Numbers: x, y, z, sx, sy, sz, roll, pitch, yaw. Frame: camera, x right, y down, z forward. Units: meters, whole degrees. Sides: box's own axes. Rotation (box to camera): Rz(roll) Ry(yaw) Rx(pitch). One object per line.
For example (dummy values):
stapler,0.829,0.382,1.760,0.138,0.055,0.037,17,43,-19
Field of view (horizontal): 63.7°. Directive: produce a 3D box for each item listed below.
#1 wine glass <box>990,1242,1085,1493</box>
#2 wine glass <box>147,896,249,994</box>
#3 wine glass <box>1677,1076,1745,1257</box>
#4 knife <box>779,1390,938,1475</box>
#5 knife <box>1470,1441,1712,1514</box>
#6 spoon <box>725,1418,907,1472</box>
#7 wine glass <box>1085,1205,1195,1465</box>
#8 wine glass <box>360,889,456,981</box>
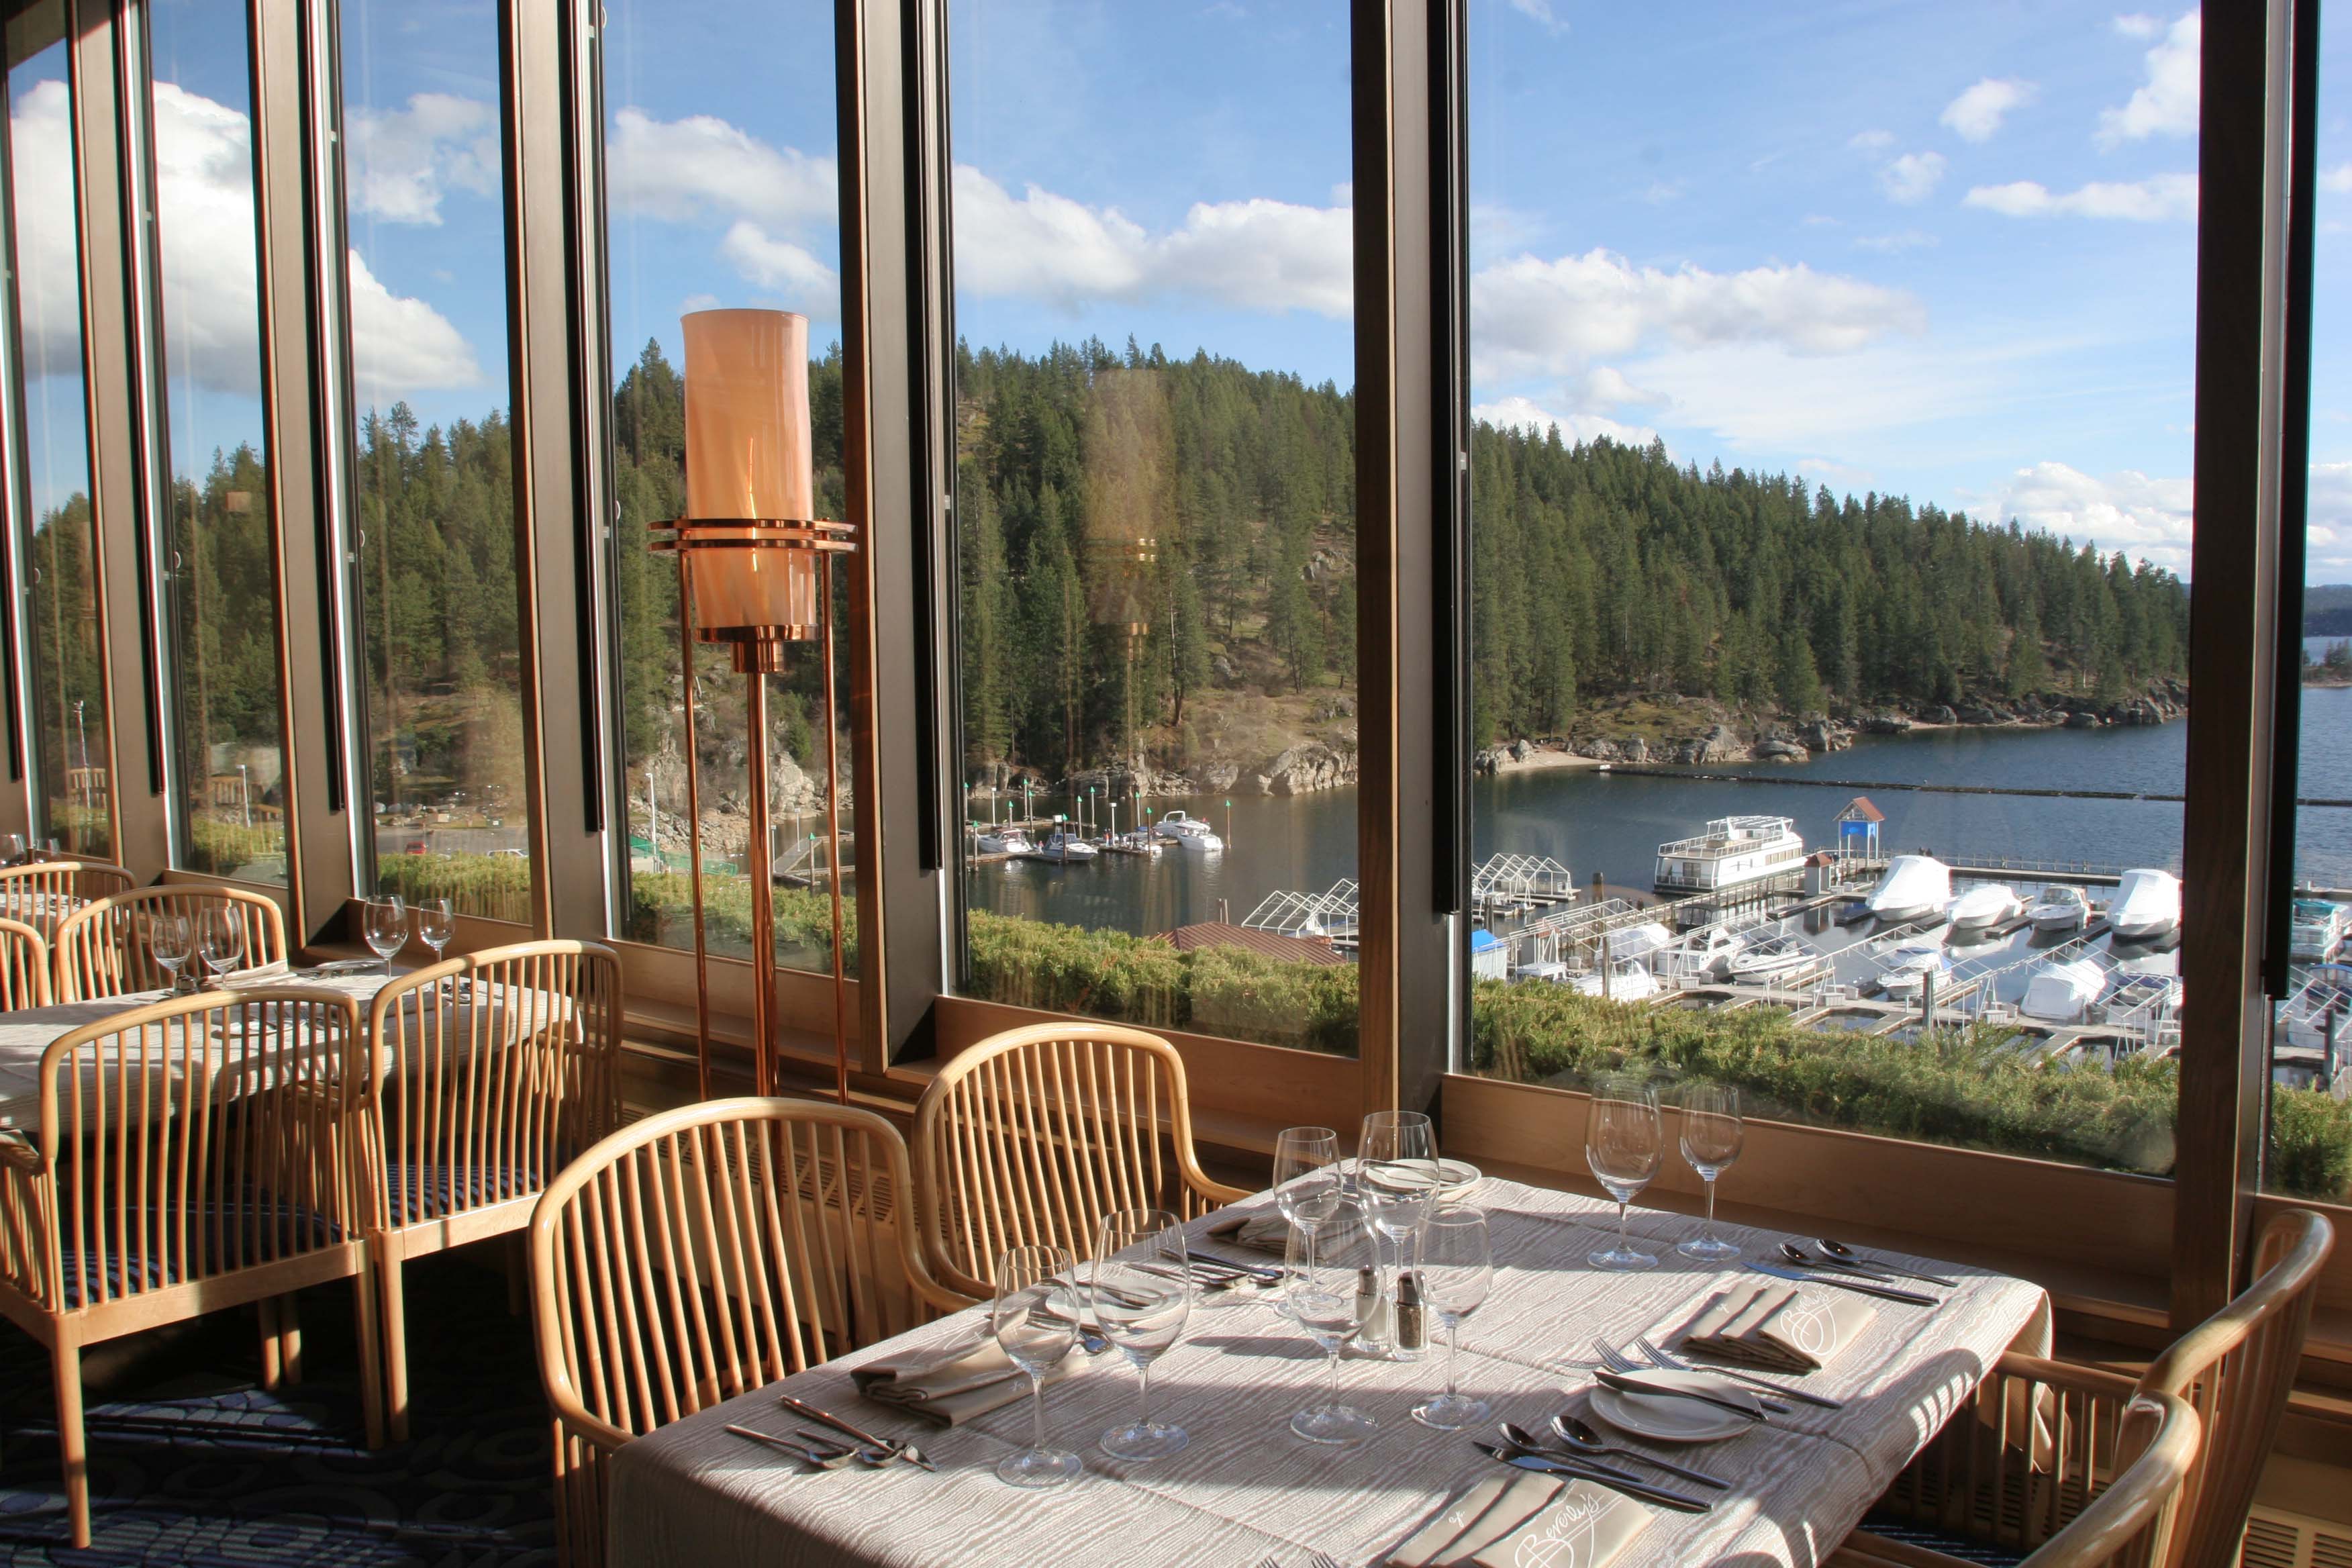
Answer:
wine glass,-0.221,0.909,3.017,0.134,0.322,0.249,0,2,-5
wine glass,-2.782,0.445,5.384,0.256,0.421,0.246,2,-1,-20
wine glass,1.018,0.692,3.646,0.101,0.316,0.497,0,2,15
knife,-0.494,1.029,2.991,0.264,0.022,0.087,13,13,32
knife,0.636,1.066,2.936,0.366,0.020,0.105,7,4,27
spoon,-0.566,1.038,2.977,0.150,0.030,0.100,10,2,19
wine glass,-0.075,0.878,3.074,0.176,0.353,0.286,0,2,-3
wine glass,-2.191,0.430,5.430,0.181,0.443,0.184,1,7,9
